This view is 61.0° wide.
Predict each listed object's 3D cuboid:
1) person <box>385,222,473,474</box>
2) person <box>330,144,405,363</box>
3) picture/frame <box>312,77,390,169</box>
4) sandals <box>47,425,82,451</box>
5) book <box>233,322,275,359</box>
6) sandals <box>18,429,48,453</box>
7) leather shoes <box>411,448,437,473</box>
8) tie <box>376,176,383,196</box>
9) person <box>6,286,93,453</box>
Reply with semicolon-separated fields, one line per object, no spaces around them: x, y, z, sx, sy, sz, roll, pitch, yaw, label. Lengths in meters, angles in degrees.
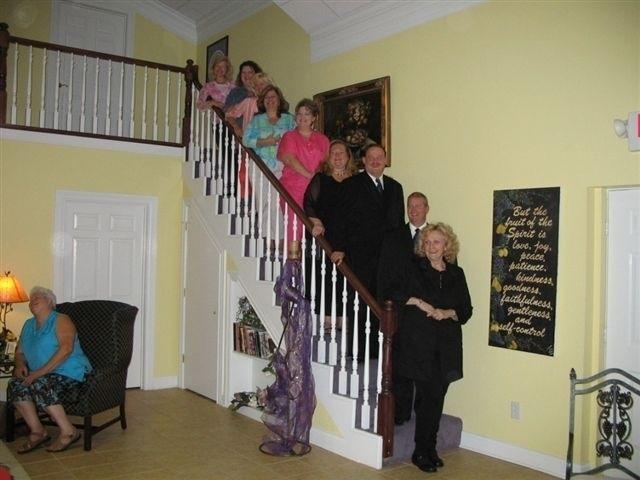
1.011;0.952;4.954;0.700;2.192;0.428;1;2;6;person
0.545;0.132;5.610;0.686;2.256;0.595;2;24;7;person
0.373;-1.325;6.380;1.003;0.935;0.061;-11;14;-30;picture/frame
-2.438;1.912;5.209;0.148;0.121;0.293;13;29;30;sandals
-0.801;1.196;6.352;0.541;0.329;0.530;2;-18;44;book
-2.701;1.917;5.193;0.112;0.140;0.302;2;7;33;sandals
0.924;1.968;4.852;0.116;0.095;0.225;-2;-3;-29;leather shoes
0.601;-0.541;5.478;0.086;0.165;0.037;1;-6;-36;tie
-2.625;1.229;5.299;0.716;1.516;0.502;0;2;-15;person
